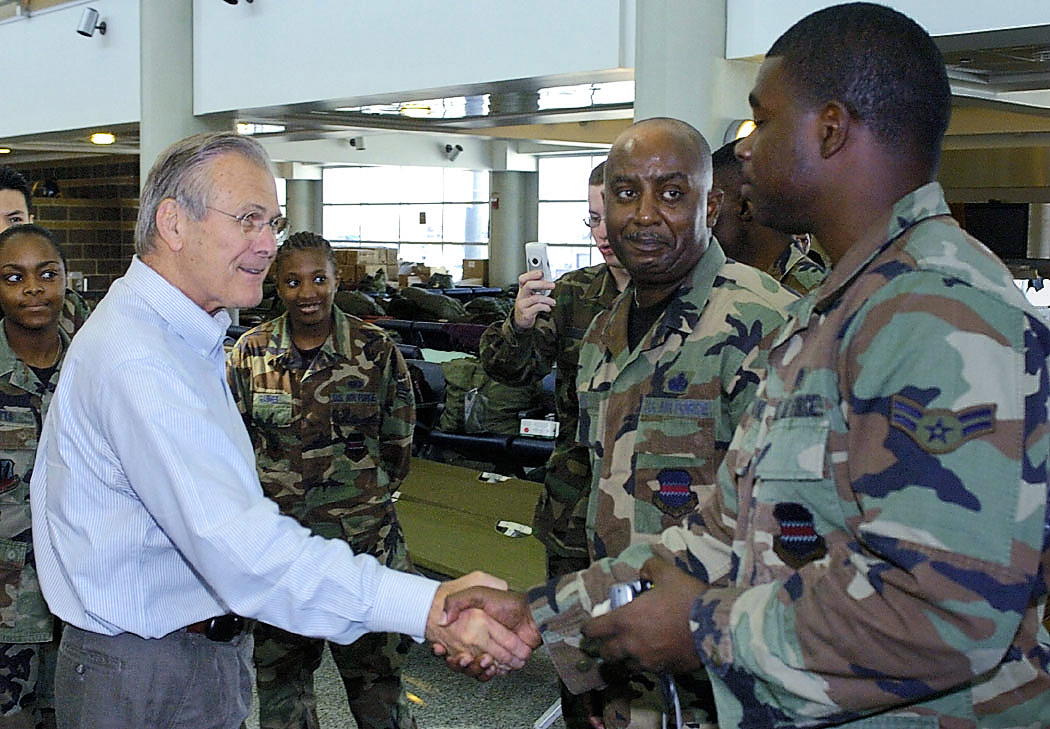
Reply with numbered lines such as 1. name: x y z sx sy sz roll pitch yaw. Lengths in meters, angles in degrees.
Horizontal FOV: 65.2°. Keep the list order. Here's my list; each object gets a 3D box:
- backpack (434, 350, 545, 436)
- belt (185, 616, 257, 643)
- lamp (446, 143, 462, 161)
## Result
1. backpack: -0.203 0.175 5.210 0.737 0.473 0.403 -3 5 30
2. belt: -0.744 0.635 2.043 0.109 0.041 0.077 1 5 13
3. lamp: -1.523 -4.397 17.300 0.312 0.284 0.117 -1 16 -14
